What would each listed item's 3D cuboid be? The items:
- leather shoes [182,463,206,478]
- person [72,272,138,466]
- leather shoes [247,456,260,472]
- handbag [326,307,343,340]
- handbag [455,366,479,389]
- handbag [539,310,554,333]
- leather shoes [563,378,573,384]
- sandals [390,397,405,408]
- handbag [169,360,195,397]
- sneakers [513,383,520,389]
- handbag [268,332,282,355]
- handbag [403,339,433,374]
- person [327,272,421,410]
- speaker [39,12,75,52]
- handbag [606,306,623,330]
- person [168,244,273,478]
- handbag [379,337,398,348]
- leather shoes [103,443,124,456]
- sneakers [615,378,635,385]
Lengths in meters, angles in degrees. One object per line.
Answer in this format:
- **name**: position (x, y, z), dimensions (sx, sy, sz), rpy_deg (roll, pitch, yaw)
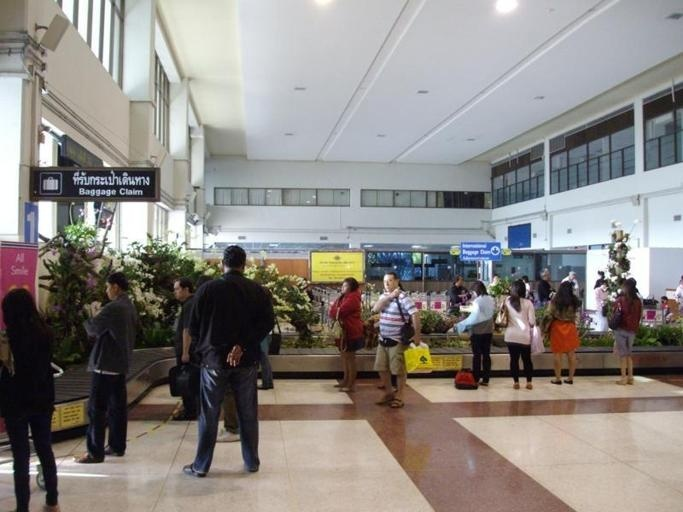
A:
- **leather shoes**: position (-1.406, 2.035, 5.313), dimensions (0.101, 0.107, 0.249), rpy_deg (7, 2, -36)
- **person**: position (-2.364, 1.104, 5.686), dimensions (0.490, 1.883, 0.323), rpy_deg (2, -2, -22)
- **leather shoes**: position (-0.852, 1.986, 5.369), dimensions (0.086, 0.177, 0.177), rpy_deg (1, 2, -4)
- **handbag**: position (-0.104, 1.057, 8.712), dimensions (0.260, 0.767, 0.733), rpy_deg (2, -7, -4)
- **handbag**: position (1.963, 1.905, 8.722), dimensions (0.302, 0.167, 0.459), rpy_deg (0, -1, 2)
- **handbag**: position (3.298, 1.109, 9.015), dimensions (0.154, 0.445, 0.332), rpy_deg (5, 26, 10)
- **leather shoes**: position (3.695, 2.029, 9.107), dimensions (0.052, 0.066, 0.161), rpy_deg (1, 2, 0)
- **sandals**: position (0.751, 1.974, 7.552), dimensions (0.180, 0.123, 0.148), rpy_deg (1, -2, 4)
- **handbag**: position (-1.749, 1.361, 6.152), dimensions (0.256, 0.376, 0.313), rpy_deg (2, 3, -3)
- **sneakers**: position (2.721, 2.030, 8.707), dimensions (0.053, 0.055, 0.127), rpy_deg (-1, -10, 6)
- **handbag**: position (-1.107, 1.469, 9.387), dimensions (0.307, 0.371, 0.311), rpy_deg (3, -5, -21)
- **handbag**: position (0.990, 1.315, 7.582), dimensions (0.502, 0.619, 0.331), rpy_deg (0, -14, -1)
- **person**: position (0.456, 1.367, 8.543), dimensions (0.609, 1.771, 1.564), rpy_deg (7, -9, -30)
- **speaker**: position (-4.294, -3.319, 8.297), dimensions (0.245, 0.630, 0.519), rpy_deg (1, -2, 26)
- **handbag**: position (4.356, 0.969, 8.961), dimensions (0.186, 0.445, 0.246), rpy_deg (2, -2, 0)
- **person**: position (-1.032, 0.988, 5.258), dimensions (0.774, 2.186, 0.383), rpy_deg (2, -2, -15)
- **handbag**: position (0.636, 1.180, 7.654), dimensions (0.073, 0.128, 0.310), rpy_deg (3, -2, -38)
- **leather shoes**: position (-2.311, 2.008, 5.781), dimensions (0.230, 0.105, 0.087), rpy_deg (13, -4, -5)
- **sneakers**: position (4.601, 2.042, 9.131), dimensions (0.119, 0.135, 0.330), rpy_deg (-3, -1, -11)
